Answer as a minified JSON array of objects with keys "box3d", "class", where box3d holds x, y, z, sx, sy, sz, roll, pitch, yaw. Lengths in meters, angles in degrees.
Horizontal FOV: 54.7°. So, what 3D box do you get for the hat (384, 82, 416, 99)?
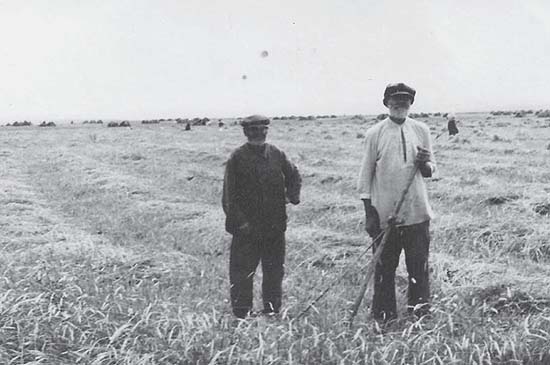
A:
[{"box3d":[1.628,-1.182,6.974,0.373,0.210,0.264,4,10,14],"class":"hat"}]
